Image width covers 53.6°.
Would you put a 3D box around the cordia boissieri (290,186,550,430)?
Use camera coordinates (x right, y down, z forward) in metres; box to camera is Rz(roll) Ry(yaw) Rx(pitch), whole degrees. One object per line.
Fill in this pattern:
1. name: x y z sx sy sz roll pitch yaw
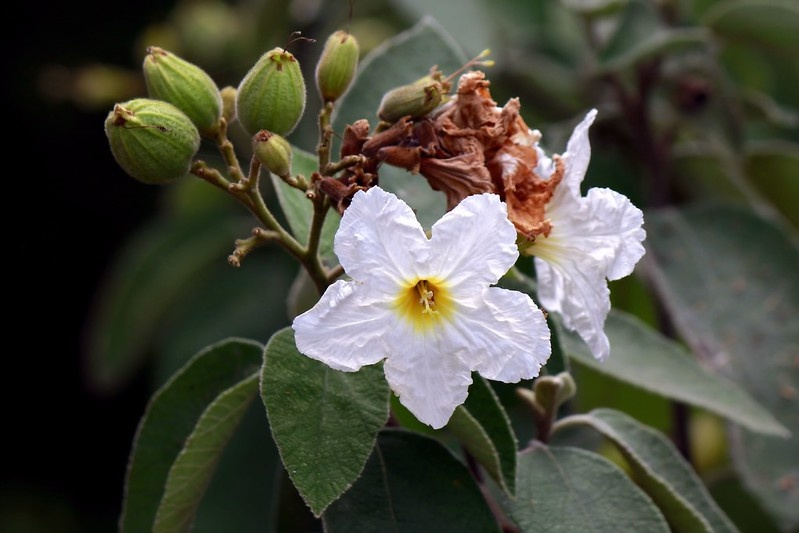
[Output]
1. cordia boissieri: 0.024 0.117 1.963 0.698 0.694 0.283 24 108 23
